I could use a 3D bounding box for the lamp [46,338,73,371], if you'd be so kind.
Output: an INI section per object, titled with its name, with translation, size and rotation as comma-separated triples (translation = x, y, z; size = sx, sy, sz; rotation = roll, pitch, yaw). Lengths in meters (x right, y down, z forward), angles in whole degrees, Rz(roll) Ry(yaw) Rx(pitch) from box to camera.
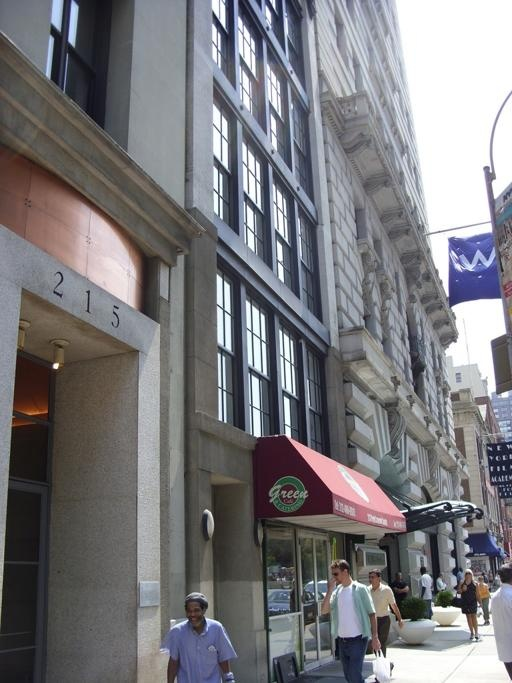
[lamp]
translation = -2.182, 0.135, 5.803
size = 0.276, 0.478, 0.301
rotation = 0, -4, -15

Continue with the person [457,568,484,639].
[person]
translation = 6.099, 7.411, 14.795
size = 0.478, 1.784, 0.534
rotation = 8, -15, -27
